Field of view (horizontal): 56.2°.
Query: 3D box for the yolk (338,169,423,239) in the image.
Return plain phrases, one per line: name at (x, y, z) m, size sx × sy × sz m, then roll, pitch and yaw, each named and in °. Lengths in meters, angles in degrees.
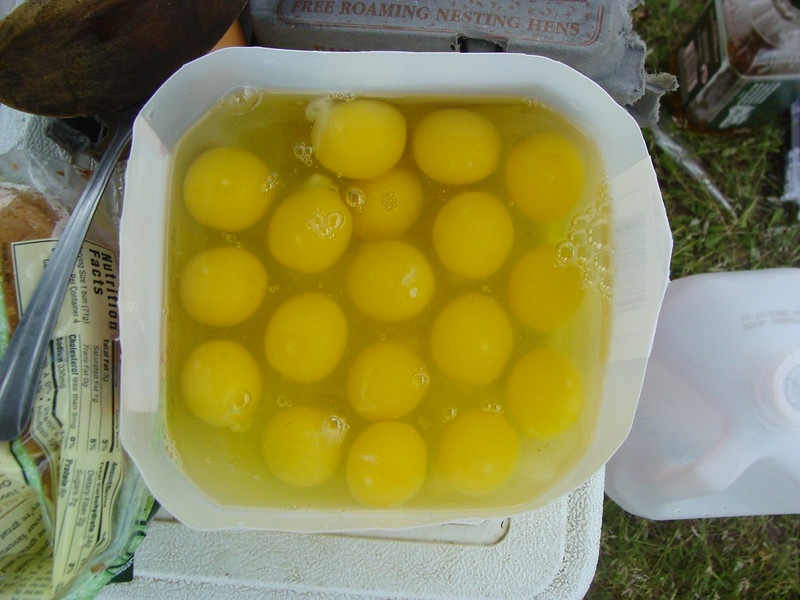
yolk at (-0.027, -0.158, 1.275) m, size 0.100 × 0.067 × 0.120 m, roll 44°, pitch 84°, yaw 3°
